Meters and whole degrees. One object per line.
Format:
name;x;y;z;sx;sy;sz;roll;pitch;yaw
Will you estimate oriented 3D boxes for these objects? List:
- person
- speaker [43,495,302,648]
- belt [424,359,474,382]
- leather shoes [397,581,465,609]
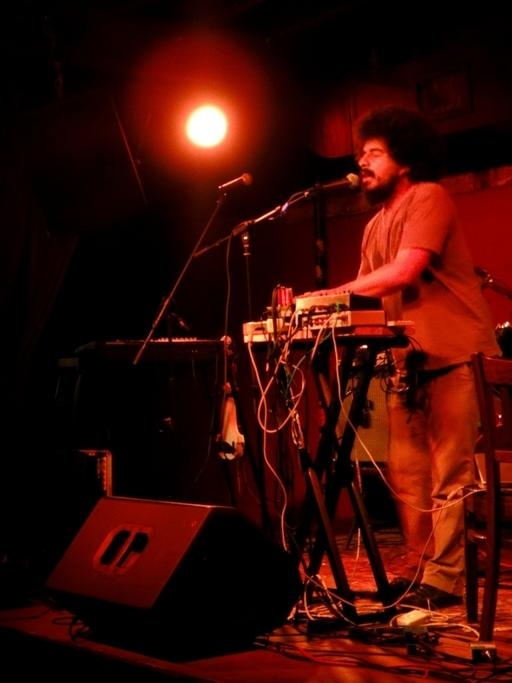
person;0.579;-0.045;2.387;0.579;1.885;0.793;5;-13;-5
speaker;-0.192;0.597;1.727;0.427;0.405;0.424;-12;-13;44
belt;0.659;0.098;2.230;0.098;0.021;0.056;-13;-51;2
leather shoes;0.574;0.829;2.168;0.199;0.120;0.089;-3;-4;-14
